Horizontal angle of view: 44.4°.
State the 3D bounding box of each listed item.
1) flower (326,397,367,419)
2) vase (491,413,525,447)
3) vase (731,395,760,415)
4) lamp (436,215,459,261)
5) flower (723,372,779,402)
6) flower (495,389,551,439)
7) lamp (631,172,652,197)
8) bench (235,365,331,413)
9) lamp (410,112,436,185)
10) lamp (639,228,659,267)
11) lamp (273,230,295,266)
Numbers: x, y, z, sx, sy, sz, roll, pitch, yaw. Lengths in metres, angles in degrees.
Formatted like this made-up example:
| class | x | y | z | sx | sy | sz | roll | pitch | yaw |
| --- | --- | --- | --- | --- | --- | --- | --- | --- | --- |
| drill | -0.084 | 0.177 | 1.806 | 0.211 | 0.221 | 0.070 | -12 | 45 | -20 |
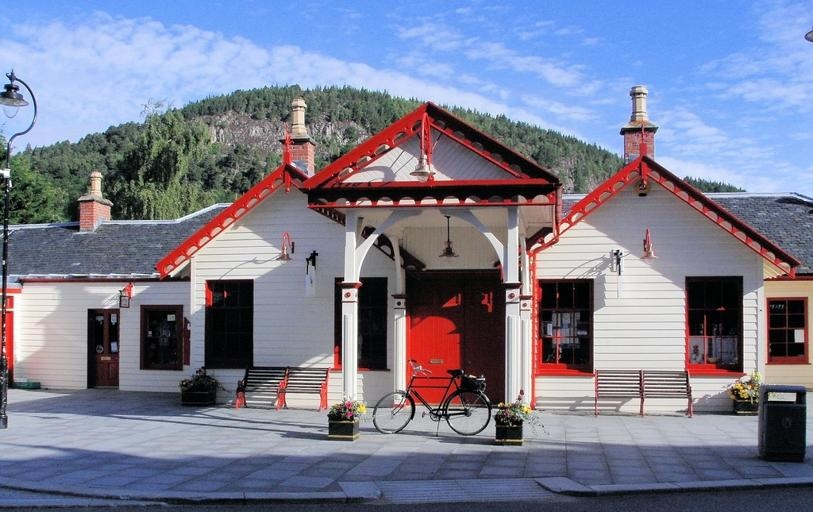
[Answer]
| class | x | y | z | sx | sy | sz | roll | pitch | yaw |
| --- | --- | --- | --- | --- | --- | --- | --- | --- | --- |
| flower | -1.579 | 4.071 | 26.688 | 1.012 | 0.460 | 0.945 | 0 | -3 | -1 |
| vase | 2.599 | 4.513 | 25.847 | 0.952 | 0.801 | 0.733 | 0 | -7 | 4 |
| vase | 9.691 | 4.236 | 28.547 | 0.629 | 0.341 | 0.595 | 0 | -3 | 11 |
| lamp | 1.203 | -0.486 | 28.497 | 0.581 | 1.143 | 1.658 | 1 | -5 | 3 |
| flower | 9.899 | 3.820 | 28.789 | 1.049 | 0.786 | 1.145 | -1 | -2 | 16 |
| flower | 2.943 | 4.254 | 26.161 | 1.582 | 1.197 | 1.187 | 1 | -6 | 2 |
| lamp | 6.867 | -2.053 | 29.088 | 0.429 | 0.636 | 0.454 | 0 | -6 | 13 |
| bench | -3.711 | 3.900 | 29.797 | 2.707 | 1.232 | 0.519 | 1 | -6 | 7 |
| lamp | 0.432 | -2.831 | 25.844 | 0.513 | 1.732 | 0.526 | 1 | -6 | 9 |
| lamp | 7.039 | -0.328 | 29.040 | 0.453 | 1.043 | 0.479 | 0 | -6 | 11 |
| lamp | -3.905 | -0.246 | 29.863 | 0.745 | 1.030 | 0.850 | 0 | -6 | 12 |
